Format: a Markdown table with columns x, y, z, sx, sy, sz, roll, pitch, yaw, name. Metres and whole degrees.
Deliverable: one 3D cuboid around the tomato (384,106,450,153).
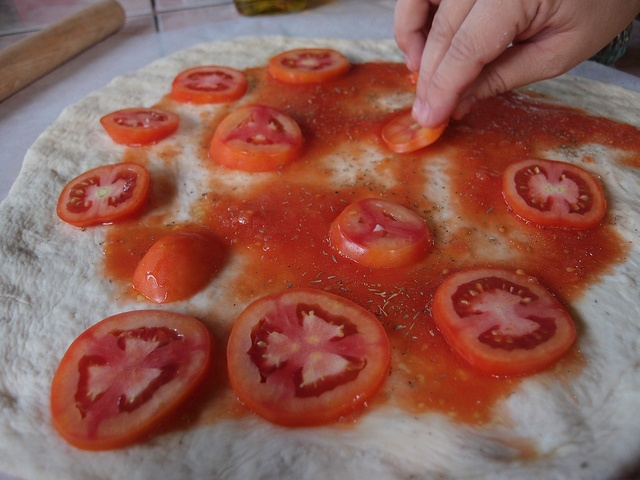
| x | y | z | sx | sy | sz | roll | pitch | yaw | name |
| --- | --- | --- | --- | --- | --- | --- | --- | --- | --- |
| 0.426 | -0.507 | 2.989 | 0.239 | 0.066 | 0.235 | -11 | 35 | 44 | tomato |
